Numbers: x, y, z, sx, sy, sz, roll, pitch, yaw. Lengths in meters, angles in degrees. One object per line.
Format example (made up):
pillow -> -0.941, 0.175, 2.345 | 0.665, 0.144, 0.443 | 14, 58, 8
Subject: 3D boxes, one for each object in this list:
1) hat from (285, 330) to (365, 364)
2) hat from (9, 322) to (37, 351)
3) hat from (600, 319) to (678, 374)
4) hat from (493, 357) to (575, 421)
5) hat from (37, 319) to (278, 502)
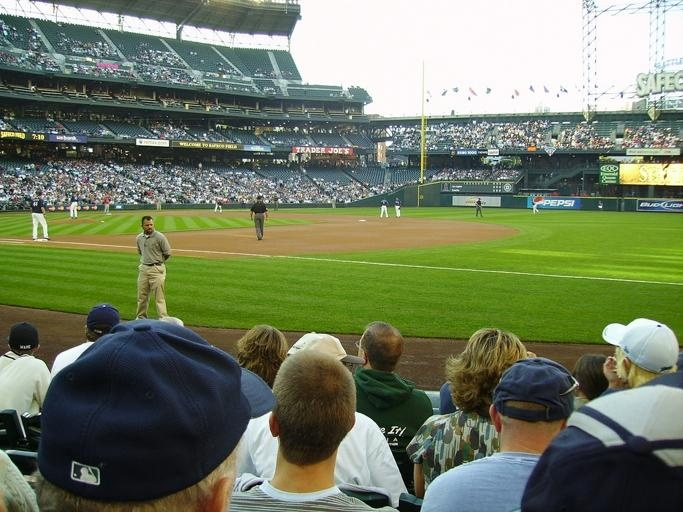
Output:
hat -> -0.095, 0.699, 5.026 | 0.505, 0.135, 0.319 | 5, -4, -12
hat -> -2.625, 0.677, 5.874 | 0.206, 0.248, 0.200 | 3, -10, -7
hat -> 2.070, 0.609, 4.821 | 0.352, 0.368, 0.258 | -1, -11, 17
hat -> 0.940, 0.649, 3.429 | 0.399, 0.307, 0.172 | 1, -11, 5
hat -> -0.720, 0.573, 2.644 | 0.575, 0.308, 0.773 | 10, 17, 10
